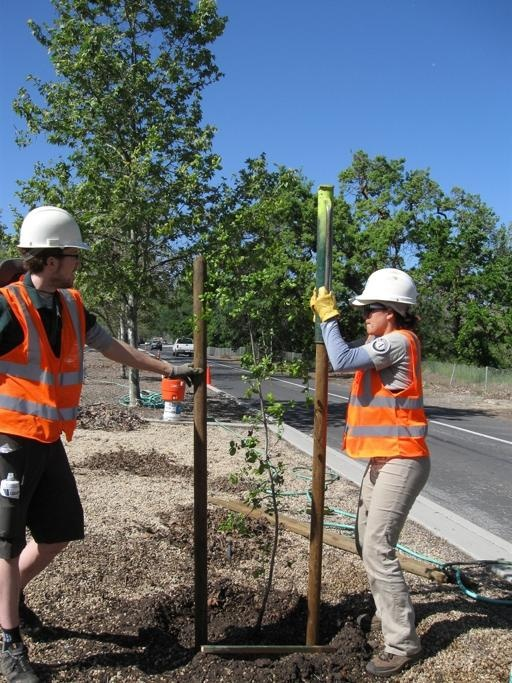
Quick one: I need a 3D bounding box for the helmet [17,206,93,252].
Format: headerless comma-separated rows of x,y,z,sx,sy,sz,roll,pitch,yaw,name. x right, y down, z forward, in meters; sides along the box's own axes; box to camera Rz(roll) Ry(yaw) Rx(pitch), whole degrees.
-0.908,-0.507,2.764,0.343,0.186,0.257,0,14,13,helmet

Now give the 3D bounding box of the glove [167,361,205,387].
-0.322,0.165,2.892,0.209,0.125,0.103,-8,-41,-2,glove

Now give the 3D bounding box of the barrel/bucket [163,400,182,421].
-1.417,1.227,10.959,0.367,0.336,0.339,2,-6,0,barrel/bucket

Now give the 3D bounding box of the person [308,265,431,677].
0.557,0.552,2.960,0.520,1.844,0.588,1,1,15,person

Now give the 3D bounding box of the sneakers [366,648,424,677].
0.614,1.422,2.765,0.207,0.076,0.101,0,-1,3,sneakers

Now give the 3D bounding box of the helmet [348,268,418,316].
0.635,-0.265,3.106,0.345,0.251,0.275,2,11,1,helmet

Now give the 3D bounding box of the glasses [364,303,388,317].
0.589,-0.158,3.060,0.073,0.026,0.069,17,-13,-21,glasses

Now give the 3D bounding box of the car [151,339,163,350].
-10.969,0.354,68.799,1.595,1.387,3.369,1,-4,-3,car

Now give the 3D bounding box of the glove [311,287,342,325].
0.320,-0.160,2.871,0.117,0.159,0.058,-13,-7,10,glove
